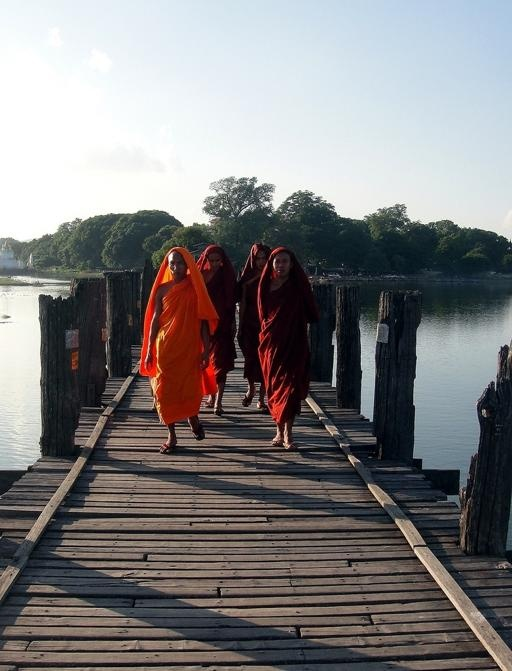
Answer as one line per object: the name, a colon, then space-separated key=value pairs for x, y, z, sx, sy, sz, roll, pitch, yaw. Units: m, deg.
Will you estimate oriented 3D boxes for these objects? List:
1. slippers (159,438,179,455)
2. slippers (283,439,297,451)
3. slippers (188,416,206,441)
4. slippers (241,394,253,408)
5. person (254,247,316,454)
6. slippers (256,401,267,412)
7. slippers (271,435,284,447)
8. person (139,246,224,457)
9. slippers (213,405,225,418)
slippers: x=-0.606 y=0.773 z=6.034 sx=0.076 sy=0.036 sz=0.146 roll=0 pitch=20 yaw=-1
slippers: x=0.230 y=0.772 z=6.096 sx=0.089 sy=0.046 sz=0.198 roll=0 pitch=-3 yaw=-2
slippers: x=-0.432 y=0.663 z=6.209 sx=0.090 sy=0.217 sz=0.053 roll=-11 pitch=35 yaw=13
slippers: x=-0.082 y=0.581 z=7.683 sx=0.139 sy=0.102 sz=0.354 roll=-1 pitch=-1 yaw=-1
person: x=0.239 y=0.082 z=6.181 sx=0.405 sy=1.411 sz=0.572 roll=0 pitch=13 yaw=-11
slippers: x=0.047 y=0.609 z=7.474 sx=0.089 sy=0.089 sz=0.254 roll=2 pitch=-5 yaw=-20
slippers: x=0.153 y=0.753 z=6.187 sx=0.057 sy=0.057 sz=0.149 roll=0 pitch=-15 yaw=2
person: x=-0.543 y=0.077 z=6.115 sx=0.527 sy=1.377 sz=0.673 roll=1 pitch=13 yaw=-7
slippers: x=-0.314 y=0.634 z=7.203 sx=0.107 sy=0.102 sz=0.267 roll=1 pitch=-2 yaw=-5
